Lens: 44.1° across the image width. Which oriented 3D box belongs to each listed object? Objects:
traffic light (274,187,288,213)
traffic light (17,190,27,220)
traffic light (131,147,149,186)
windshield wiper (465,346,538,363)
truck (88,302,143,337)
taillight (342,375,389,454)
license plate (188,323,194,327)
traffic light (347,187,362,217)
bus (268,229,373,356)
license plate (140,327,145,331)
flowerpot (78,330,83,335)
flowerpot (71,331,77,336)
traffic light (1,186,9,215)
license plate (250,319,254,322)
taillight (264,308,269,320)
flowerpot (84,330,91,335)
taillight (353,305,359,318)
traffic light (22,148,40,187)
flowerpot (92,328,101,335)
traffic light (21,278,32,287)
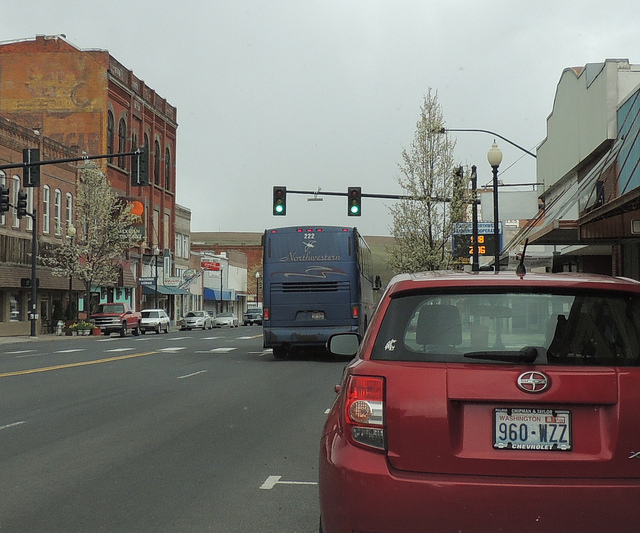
[{"bbox_3d":[-1.392,-2.418,28.817,0.431,0.963,0.421,-1,-3,-19],"label":"traffic light"},{"bbox_3d":[-11.691,-2.460,31.033,0.299,1.006,1.047,-1,-3,-20],"label":"traffic light"},{"bbox_3d":[-5.762,-3.247,25.232,0.440,1.248,1.001,-1,-3,-16],"label":"traffic light"},{"bbox_3d":[1.050,0.514,4.565,0.410,0.087,0.054,-3,-3,15],"label":"windshield wiper"},{"bbox_3d":[-12.070,3.127,46.855,1.897,1.939,3.116,-3,-3,19],"label":"truck"},{"bbox_3d":[0.274,0.850,4.614,0.218,0.460,0.188,2,-6,3],"label":"taillight"},{"bbox_3d":[-10.179,4.648,62.967,0.349,0.208,0.147,-1,-3,-11],"label":"license plate"},{"bbox_3d":[1.299,-2.398,29.106,0.478,1.042,0.344,-1,-2,-11],"label":"traffic light"},{"bbox_3d":[0.001,1.221,25.068,2.845,3.744,6.692,-1,-9,3],"label":"bus"},{"bbox_3d":[-11.325,3.982,50.660,0.183,0.207,0.047,-2,5,10],"label":"license plate"},{"bbox_3d":[-13.637,3.743,45.111,0.283,0.332,0.188,-1,4,2],"label":"flowerpot"},{"bbox_3d":[-14.006,3.808,45.174,0.200,0.243,0.161,-1,0,-15],"label":"flowerpot"},{"bbox_3d":[-11.029,-2.362,27.657,0.252,0.849,0.772,-1,-3,-18],"label":"traffic light"},{"bbox_3d":[-6.735,5.330,78.963,0.381,0.259,0.278,-1,-3,-9],"label":"license plate"},{"bbox_3d":[-1.458,1.305,21.788,0.093,0.331,0.134,0,9,3],"label":"taillight"},{"bbox_3d":[-13.335,3.762,45.380,0.394,0.259,0.235,1,-4,-44],"label":"flowerpot"},{"bbox_3d":[1.007,1.240,21.729,0.104,0.369,0.143,2,-10,1],"label":"taillight"},{"bbox_3d":[-9.377,-3.283,25.665,0.499,1.380,1.650,-1,-3,-21],"label":"traffic light"},{"bbox_3d":[-12.900,3.772,45.764,0.320,0.363,0.337,-2,-6,-6],"label":"flowerpot"},{"bbox_3d":[-15.052,0.801,40.573,0.436,0.405,1.639,0,-4,-25],"label":"traffic light"}]
